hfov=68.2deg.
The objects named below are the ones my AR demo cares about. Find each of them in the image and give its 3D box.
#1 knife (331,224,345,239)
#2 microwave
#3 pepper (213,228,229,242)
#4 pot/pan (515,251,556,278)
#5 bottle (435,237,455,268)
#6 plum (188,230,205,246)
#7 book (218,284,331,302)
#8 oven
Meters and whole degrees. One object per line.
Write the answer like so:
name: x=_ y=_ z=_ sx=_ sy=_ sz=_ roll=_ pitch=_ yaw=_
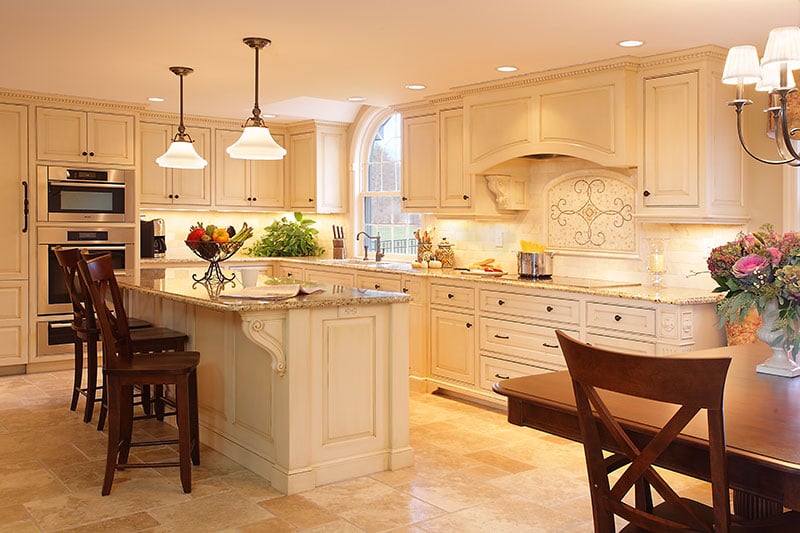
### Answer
knife: x=-0.774 y=-0.448 z=7.513 sx=0.058 sy=0.211 sz=0.229 roll=5 pitch=-25 yaw=23
microwave: x=-3.462 y=-0.620 z=6.378 sx=0.982 sy=0.538 sz=0.604 roll=2 pitch=-4 yaw=-37
pepper: x=-1.418 y=-0.244 z=4.676 sx=0.122 sy=0.105 sz=0.115 roll=17 pitch=20 yaw=23
pot/pan: x=1.171 y=-0.010 z=5.062 sx=0.226 sy=0.175 sz=0.274 roll=-1 pitch=4 yaw=-13
bottle: x=0.467 y=-0.131 z=6.055 sx=0.274 sy=0.379 sz=0.263 roll=-1 pitch=-1 yaw=0
plum: x=-1.595 y=-0.231 z=4.618 sx=0.137 sy=0.124 sz=0.092 roll=-1 pitch=8 yaw=-15
book: x=-0.749 y=0.154 z=3.722 sx=0.709 sy=0.054 sz=0.463 roll=-3 pitch=7 yaw=-31
oven: x=-3.149 y=0.301 z=6.535 sx=1.259 sy=1.488 sz=1.112 roll=-3 pitch=-7 yaw=5
